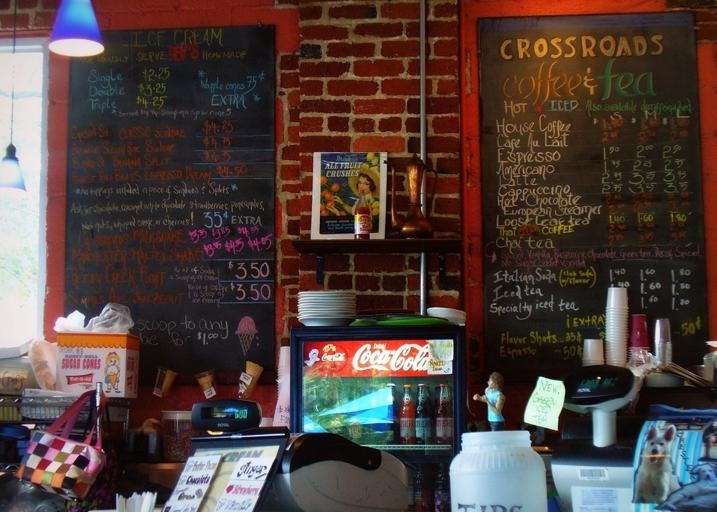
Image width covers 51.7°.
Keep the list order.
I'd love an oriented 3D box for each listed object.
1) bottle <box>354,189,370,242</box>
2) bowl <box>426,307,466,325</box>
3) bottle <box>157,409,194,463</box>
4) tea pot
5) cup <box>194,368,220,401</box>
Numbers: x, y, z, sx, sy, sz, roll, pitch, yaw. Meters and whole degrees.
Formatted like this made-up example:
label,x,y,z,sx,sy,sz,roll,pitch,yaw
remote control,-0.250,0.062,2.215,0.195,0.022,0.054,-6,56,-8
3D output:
label,x,y,z,sx,sy,sz,roll,pitch,yaw
bottle,0.023,-0.223,4.084,0.098,0.253,0.198,-1,3,1
bowl,0.467,0.315,3.939,0.203,0.083,0.116,-1,3,4
bottle,-1.030,1.012,4.183,0.171,0.263,0.358,-2,4,-14
tea pot,0.290,-0.329,4.108,0.265,0.441,0.231,-1,3,2
cup,-0.901,0.749,4.348,0.126,0.165,0.081,-1,3,-2
